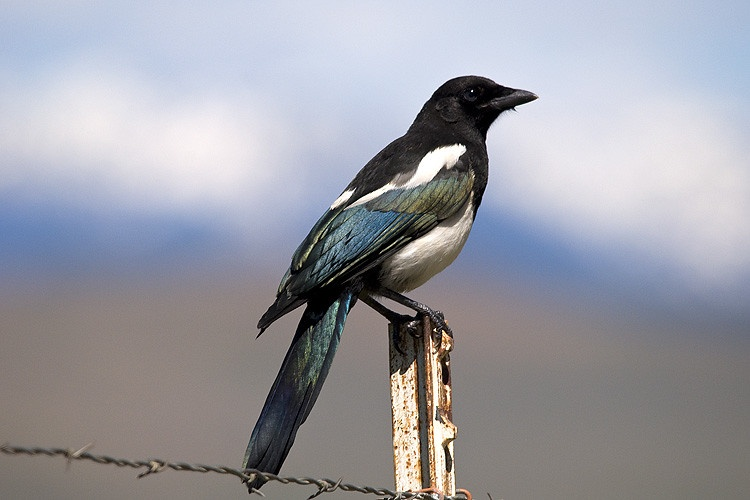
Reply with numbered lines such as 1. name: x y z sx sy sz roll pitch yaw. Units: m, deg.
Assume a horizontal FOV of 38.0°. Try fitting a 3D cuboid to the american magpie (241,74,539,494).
1. american magpie: 0.073 0.019 7.562 1.770 2.982 0.589 -14 -47 16
